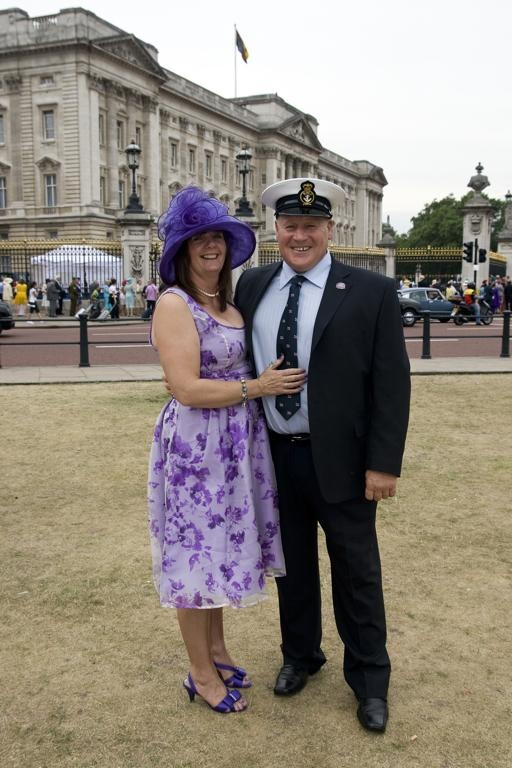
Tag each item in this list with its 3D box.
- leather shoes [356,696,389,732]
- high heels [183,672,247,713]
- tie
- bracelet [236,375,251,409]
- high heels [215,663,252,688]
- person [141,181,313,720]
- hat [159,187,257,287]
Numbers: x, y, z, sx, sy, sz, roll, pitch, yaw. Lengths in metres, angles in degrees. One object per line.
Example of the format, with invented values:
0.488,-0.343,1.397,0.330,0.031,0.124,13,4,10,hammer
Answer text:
0.386,1.103,2.829,0.105,0.063,0.136,2,9,10,leather shoes
-0.145,1.081,3.002,0.198,0.097,0.106,-4,1,32,high heels
0.114,-0.129,2.949,0.092,0.496,0.149,1,8,3,tie
-0.034,0.041,2.921,0.029,0.080,0.061,-5,13,5,bracelet
-0.082,1.078,3.133,0.064,0.040,0.146,5,0,-41,high heels
-0.129,0.220,3.022,0.483,1.806,0.502,-2,9,-16,person
-0.198,-0.552,3.088,0.349,0.238,0.371,-28,-7,14,hat
